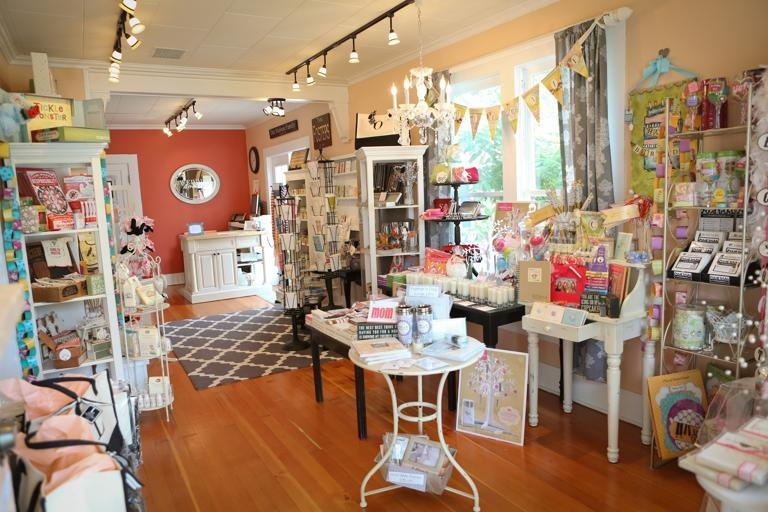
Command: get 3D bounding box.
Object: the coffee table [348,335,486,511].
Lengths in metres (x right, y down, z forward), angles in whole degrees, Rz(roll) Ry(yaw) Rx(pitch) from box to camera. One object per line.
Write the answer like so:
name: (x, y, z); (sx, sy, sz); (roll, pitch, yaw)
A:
coffee table: (0.239, 1.128, 3.938); (1.155, 1.268, 1.090); (2, -2, -27)

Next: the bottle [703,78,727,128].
bottle: (2.340, -1.088, 3.678); (0.155, 0.344, 0.142); (-3, 14, 1)

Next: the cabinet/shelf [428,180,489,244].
cabinet/shelf: (0.804, -0.447, 5.564); (0.670, 0.711, 0.670); (0, 2, 0)

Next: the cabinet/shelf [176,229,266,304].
cabinet/shelf: (-2.807, 0.142, 9.114); (1.436, 1.143, 0.656); (-8, 14, -20)

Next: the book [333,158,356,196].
book: (-0.529, -1.069, 7.036); (0.164, 0.553, 0.679); (-10, 15, -25)

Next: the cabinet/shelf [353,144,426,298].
cabinet/shelf: (0.112, -0.413, 6.038); (0.837, 1.718, 0.693); (-4, 14, -2)

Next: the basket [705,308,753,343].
basket: (2.396, 0.479, 3.634); (0.206, 0.264, 0.261); (-11, 15, -30)

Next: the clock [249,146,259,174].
clock: (-2.705, -2.018, 10.770); (0.059, 0.559, 0.565); (-5, 12, -26)

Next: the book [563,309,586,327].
book: (1.394, 0.460, 3.832); (0.155, 0.108, 0.095); (3, 15, 25)

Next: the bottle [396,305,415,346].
bottle: (0.146, 0.491, 3.601); (0.114, 0.264, 0.167); (-2, 13, 3)

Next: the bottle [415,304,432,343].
bottle: (0.271, 0.488, 3.567); (0.115, 0.263, 0.146); (-2, 14, 4)

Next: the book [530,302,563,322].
book: (1.243, 0.436, 3.970); (0.129, 0.118, 0.248); (3, 2, -29)

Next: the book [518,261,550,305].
book: (1.208, 0.217, 4.172); (0.339, 0.444, 0.045); (3, 2, 38)

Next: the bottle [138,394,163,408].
bottle: (-2.129, 1.347, 4.721); (0.134, 0.082, 0.133); (1, -2, 0)

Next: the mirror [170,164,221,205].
mirror: (-3.943, -1.488, 10.666); (0.817, 0.772, 0.088); (-9, 5, -30)

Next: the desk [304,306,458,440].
desk: (-0.104, 0.734, 4.577); (1.049, 1.022, 1.401); (-4, 7, -32)
